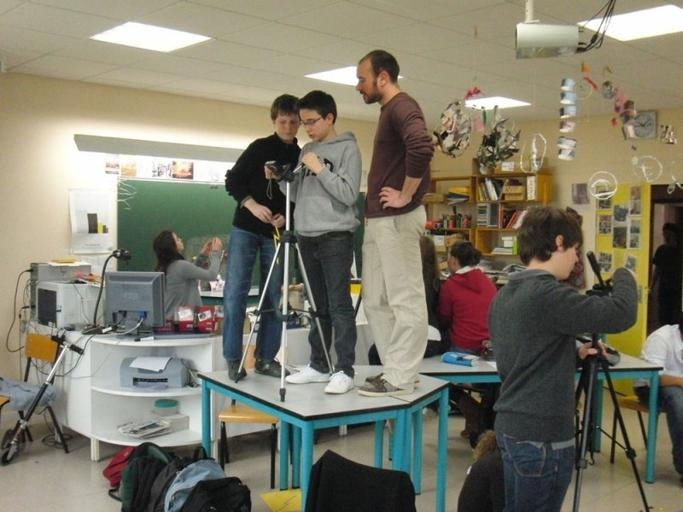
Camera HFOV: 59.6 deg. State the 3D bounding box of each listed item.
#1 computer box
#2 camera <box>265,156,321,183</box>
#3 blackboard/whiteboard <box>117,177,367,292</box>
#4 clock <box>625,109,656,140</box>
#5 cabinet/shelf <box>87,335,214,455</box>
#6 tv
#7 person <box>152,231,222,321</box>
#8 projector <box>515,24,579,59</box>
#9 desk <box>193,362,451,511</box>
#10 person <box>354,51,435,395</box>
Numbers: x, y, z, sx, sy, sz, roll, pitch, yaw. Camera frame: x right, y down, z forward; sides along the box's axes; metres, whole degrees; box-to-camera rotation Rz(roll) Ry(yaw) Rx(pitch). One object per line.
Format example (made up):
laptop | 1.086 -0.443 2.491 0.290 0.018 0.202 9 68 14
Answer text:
computer box | -2.800 0.340 6.000 0.584 0.544 0.590 -3 0 -35
camera | -0.238 -0.542 3.446 0.216 0.086 0.215 -38 27 -22
blackboard/whiteboard | -0.997 -0.179 5.104 1.398 0.816 0.025 1 -2 -33
clock | 3.697 -1.599 7.264 0.255 0.359 0.125 0 2 31
cabinet/shelf | -1.633 1.055 5.405 1.149 1.079 1.092 1 -2 -43
tv | -1.758 0.409 5.135 0.490 0.481 0.260 3 10 9
person | -1.545 0.175 6.065 0.627 0.860 1.760 -1 1 -17
projector | 1.263 -1.336 3.693 0.364 0.206 0.132 4 12 4
desk | -0.134 1.008 3.810 1.265 0.828 1.316 0 1 -36
person | 0.324 -0.220 3.493 0.477 2.020 0.471 0 1 16
